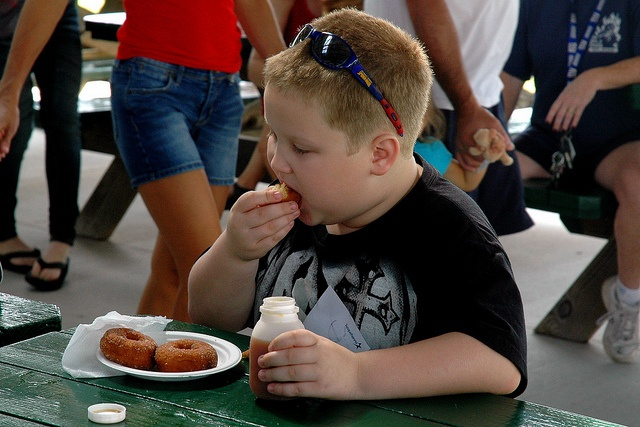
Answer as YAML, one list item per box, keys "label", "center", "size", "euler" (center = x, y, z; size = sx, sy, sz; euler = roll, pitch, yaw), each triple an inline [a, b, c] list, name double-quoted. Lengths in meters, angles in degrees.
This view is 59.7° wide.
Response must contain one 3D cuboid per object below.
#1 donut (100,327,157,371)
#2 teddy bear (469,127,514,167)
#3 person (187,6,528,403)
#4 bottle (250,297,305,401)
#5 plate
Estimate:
- label: "donut"
  center: [-0.483, 0.333, 1.419]
  size: [0.133, 0.051, 0.135]
  euler: [23, 5, -21]
- label: "teddy bear"
  center: [0.776, -0.301, 2.557]
  size: [0.135, 0.148, 0.170]
  euler: [-18, 4, 2]
- label: "person"
  center: [0.098, 0.170, 1.540]
  size: [0.687, 1.320, 0.621]
  euler: [-7, 16, -28]
- label: "bottle"
  center: [-0.120, 0.304, 1.365]
  size: [0.124, 0.231, 0.120]
  euler: [1, 16, 0]
- label: "plate"
  center: [-0.355, 0.325, 1.384]
  size: [0.224, 0.109, 0.218]
  euler: [5, 16, 32]
